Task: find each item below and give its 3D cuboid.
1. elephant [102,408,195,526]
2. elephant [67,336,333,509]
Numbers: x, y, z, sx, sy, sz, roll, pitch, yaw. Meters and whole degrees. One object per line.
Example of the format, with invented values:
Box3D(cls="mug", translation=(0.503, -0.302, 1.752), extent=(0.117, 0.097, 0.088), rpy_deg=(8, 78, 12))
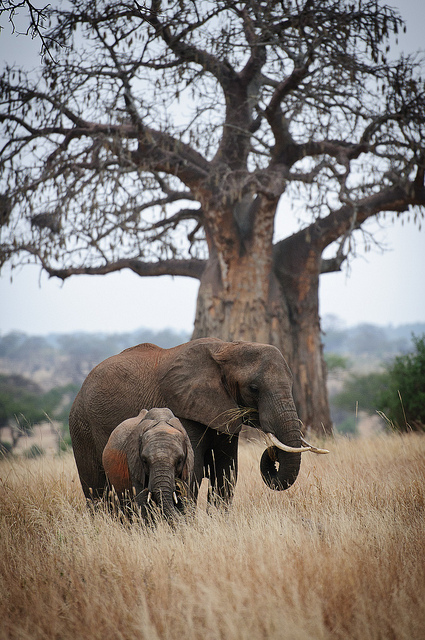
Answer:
Box3D(cls="elephant", translation=(-0.468, 1.181, 7.568), extent=(0.493, 0.887, 0.977), rpy_deg=(-3, 1, -30))
Box3D(cls="elephant", translation=(-0.209, 0.909, 8.530), extent=(2.395, 1.825, 1.251), rpy_deg=(-7, -6, 24))
